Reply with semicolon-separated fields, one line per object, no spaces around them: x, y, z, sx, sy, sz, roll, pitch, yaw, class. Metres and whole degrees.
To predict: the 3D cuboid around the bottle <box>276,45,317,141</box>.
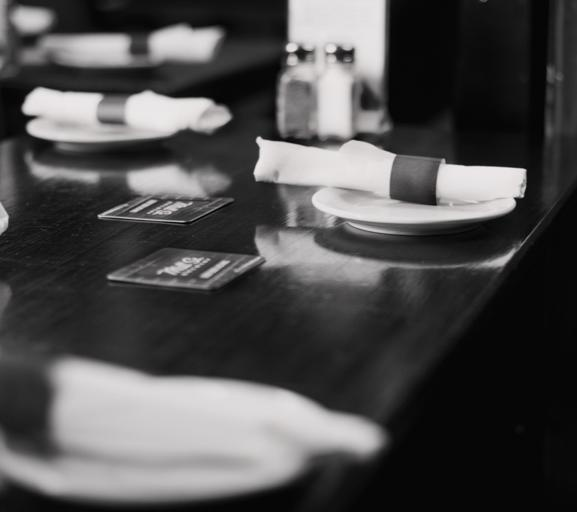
0.018;-0.322;0.997;0.078;0.175;0.062;0;32;2;bottle

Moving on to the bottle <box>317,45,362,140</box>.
0.095;-0.318;0.983;0.080;0.171;0.080;-1;32;1;bottle
